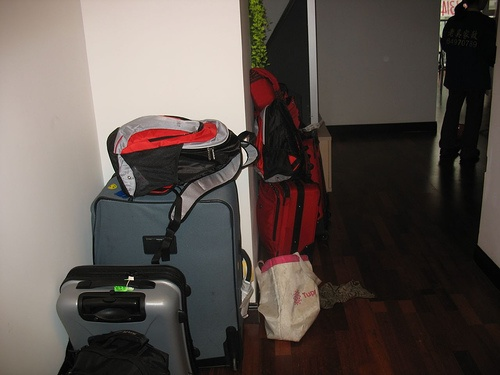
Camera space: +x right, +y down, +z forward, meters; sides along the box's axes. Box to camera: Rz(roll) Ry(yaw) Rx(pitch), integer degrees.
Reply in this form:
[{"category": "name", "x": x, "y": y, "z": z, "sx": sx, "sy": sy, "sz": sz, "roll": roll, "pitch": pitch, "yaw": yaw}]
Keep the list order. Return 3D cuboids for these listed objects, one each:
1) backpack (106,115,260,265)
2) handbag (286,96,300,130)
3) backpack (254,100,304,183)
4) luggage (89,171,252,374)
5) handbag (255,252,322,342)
[{"category": "backpack", "x": -0.346, "y": -0.118, "z": 1.859, "sx": 0.632, "sy": 0.710, "sz": 0.225, "roll": -4, "pitch": 8, "yaw": -7}, {"category": "handbag", "x": 0.362, "y": -0.629, "z": 3.362, "sx": 0.176, "sy": 0.249, "sz": 0.077, "roll": 0, "pitch": 20, "yaw": 41}, {"category": "backpack", "x": 0.195, "y": -0.331, "z": 3.194, "sx": 0.432, "sy": 0.888, "sz": 0.629, "roll": 1, "pitch": 9, "yaw": 5}, {"category": "luggage", "x": -0.323, "y": 0.431, "z": 2.365, "sx": 0.889, "sy": 1.506, "sz": 0.779, "roll": 0, "pitch": 11, "yaw": 6}, {"category": "handbag", "x": 0.259, "y": 0.724, "z": 2.714, "sx": 0.422, "sy": 0.555, "sz": 0.518, "roll": -13, "pitch": -10, "yaw": 28}]
